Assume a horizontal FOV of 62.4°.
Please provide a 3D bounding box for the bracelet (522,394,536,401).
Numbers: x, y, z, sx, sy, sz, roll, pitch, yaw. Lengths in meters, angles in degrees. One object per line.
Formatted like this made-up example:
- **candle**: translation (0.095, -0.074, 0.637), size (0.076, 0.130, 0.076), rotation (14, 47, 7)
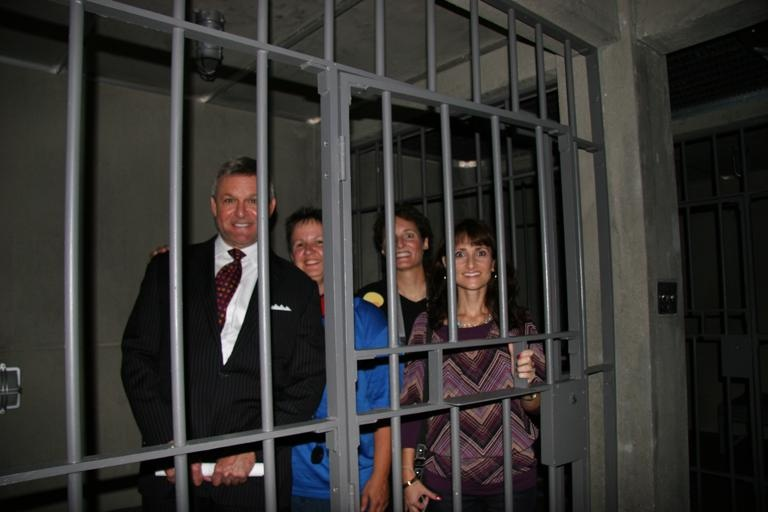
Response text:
- **bracelet**: translation (1.122, 1.084, 4.859), size (0.079, 0.026, 0.085), rotation (-19, -7, 32)

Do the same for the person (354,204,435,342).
- **person**: translation (0.094, 0.154, 5.699), size (1.111, 1.219, 0.623), rotation (-3, -18, 8)

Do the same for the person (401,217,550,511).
- **person**: translation (0.661, 0.847, 4.908), size (1.145, 2.298, 0.701), rotation (-4, -6, 12)
